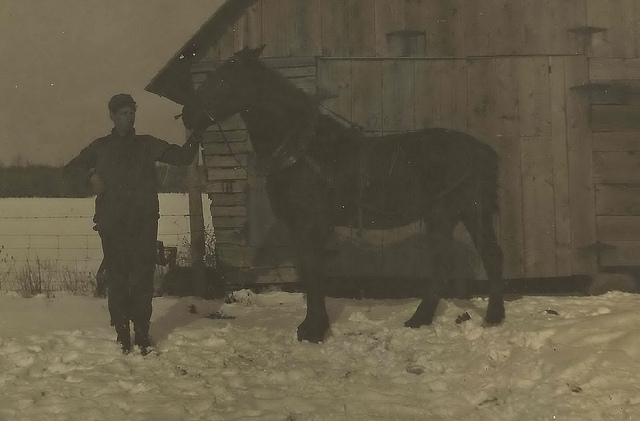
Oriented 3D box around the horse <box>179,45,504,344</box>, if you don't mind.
[{"bbox_3d":[0.543,-0.252,15.888,4.028,3.762,1.236,-1,0,-4],"label":"horse"}]
